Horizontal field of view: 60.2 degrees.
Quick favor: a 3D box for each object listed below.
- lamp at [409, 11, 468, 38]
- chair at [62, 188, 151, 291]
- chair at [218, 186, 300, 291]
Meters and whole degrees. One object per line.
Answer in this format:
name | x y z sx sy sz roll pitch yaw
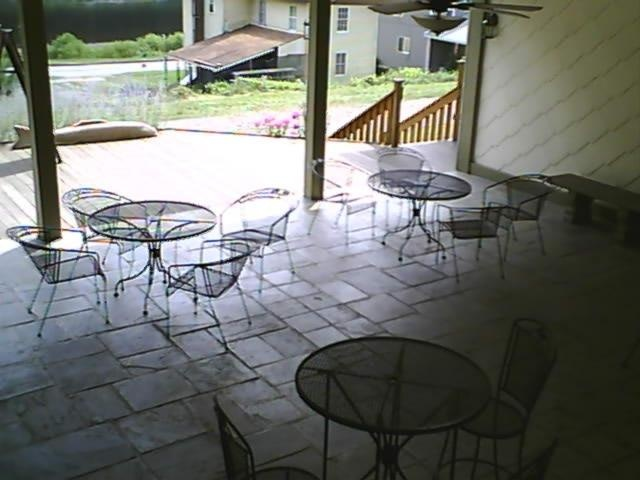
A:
lamp | 0.899 -1.616 4.094 0.267 0.114 0.260 10 16 40
chair | -2.436 0.042 6.284 0.949 1.061 0.875 -6 37 -10
chair | -0.716 0.017 6.654 1.034 1.121 0.971 23 33 34
